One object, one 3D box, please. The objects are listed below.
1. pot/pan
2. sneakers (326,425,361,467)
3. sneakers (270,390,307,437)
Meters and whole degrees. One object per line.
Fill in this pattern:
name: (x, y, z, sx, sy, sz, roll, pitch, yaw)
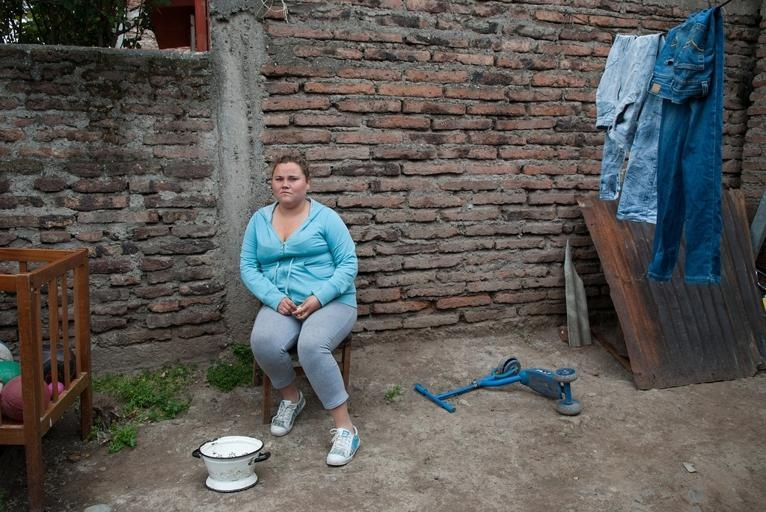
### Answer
pot/pan: (-1.034, 1.412, 3.646, 0.546, 0.222, 0.408, 1, 3, 14)
sneakers: (-0.276, 1.340, 3.829, 0.163, 0.196, 0.321, 6, 21, 24)
sneakers: (-0.743, 1.209, 4.061, 0.149, 0.150, 0.390, 13, 34, 16)
